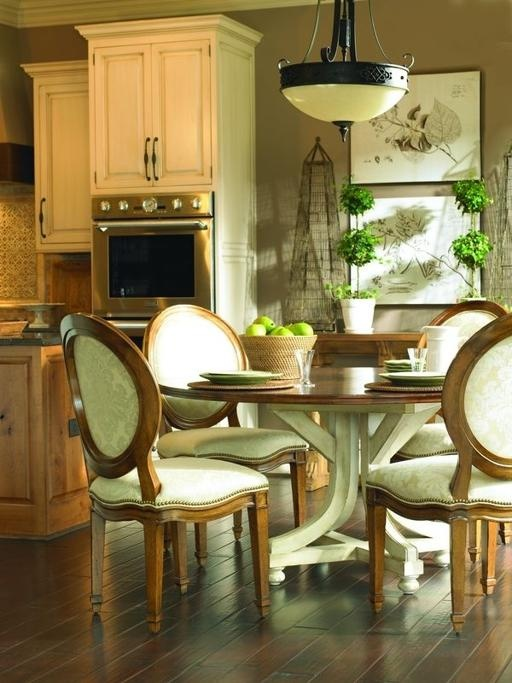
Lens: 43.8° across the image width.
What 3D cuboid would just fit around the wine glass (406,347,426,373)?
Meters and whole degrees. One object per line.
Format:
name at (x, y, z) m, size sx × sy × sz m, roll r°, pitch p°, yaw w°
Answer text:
wine glass at (0.487, 0.056, 1.915) m, size 0.077 × 0.076 × 0.071 m, roll -1°, pitch -1°, yaw -4°

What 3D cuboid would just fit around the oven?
oven at (-0.770, -0.550, 4.132) m, size 0.874 × 0.750 × 0.646 m, roll -7°, pitch 13°, yaw -38°

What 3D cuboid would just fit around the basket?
basket at (0.063, 0.066, 2.057) m, size 0.175 × 0.089 × 0.177 m, roll -1°, pitch -6°, yaw 17°

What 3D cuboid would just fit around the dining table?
dining table at (0.186, 0.380, 1.965) m, size 0.800 × 0.455 × 0.773 m, roll -1°, pitch 1°, yaw 16°
